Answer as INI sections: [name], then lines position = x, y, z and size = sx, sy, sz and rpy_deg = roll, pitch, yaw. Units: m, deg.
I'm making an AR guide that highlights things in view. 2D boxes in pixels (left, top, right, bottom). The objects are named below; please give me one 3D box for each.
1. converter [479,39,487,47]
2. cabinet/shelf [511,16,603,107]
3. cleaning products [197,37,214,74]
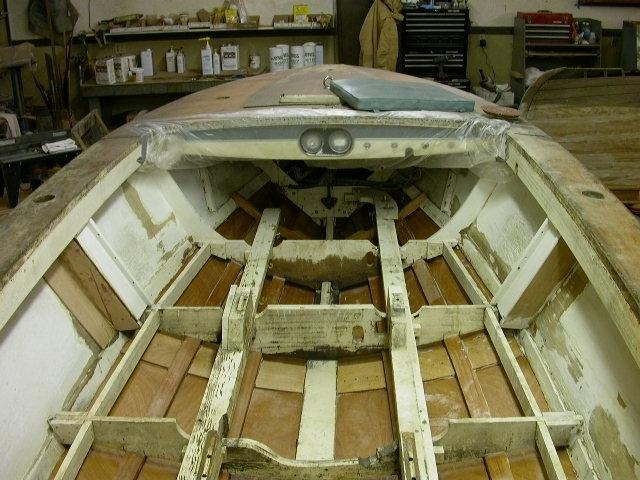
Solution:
[converter]
position = 2.389, -2.887, 6.405
size = 0.079, 0.088, 0.094
rpy_deg = 2, -61, 14
[cabinet/shelf]
position = 3.259, -2.510, 6.062
size = 0.912, 0.567, 1.057
rpy_deg = 1, -61, 13
[cleaning products]
position = -1.610, -2.599, 6.126
size = 0.169, 0.366, 0.553
rpy_deg = -1, -59, -3
